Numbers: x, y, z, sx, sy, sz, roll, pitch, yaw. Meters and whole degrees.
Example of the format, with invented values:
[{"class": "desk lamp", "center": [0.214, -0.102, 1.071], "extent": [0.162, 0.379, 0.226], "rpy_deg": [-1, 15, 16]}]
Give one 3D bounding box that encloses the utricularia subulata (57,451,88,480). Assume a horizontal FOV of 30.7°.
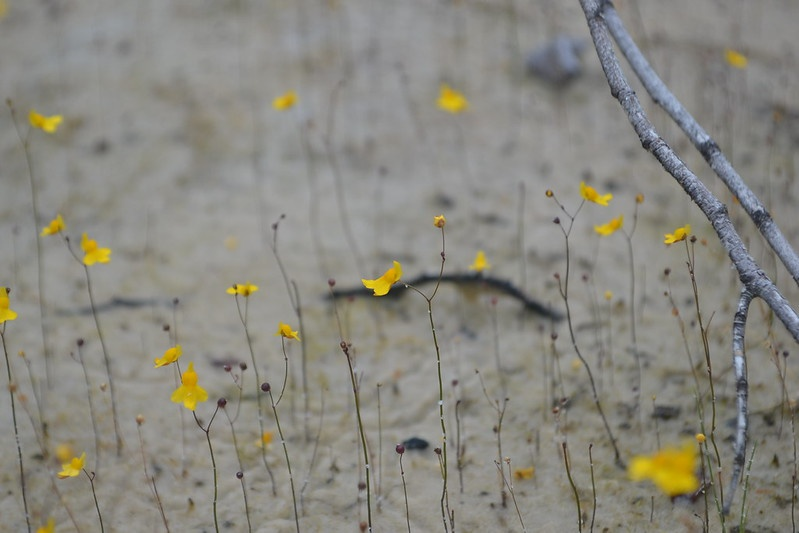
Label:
[{"class": "utricularia subulata", "center": [-2.051, 1.254, 9.070], "extent": [0.193, 0.083, 0.209], "rpy_deg": [-31, 21, 20]}]
